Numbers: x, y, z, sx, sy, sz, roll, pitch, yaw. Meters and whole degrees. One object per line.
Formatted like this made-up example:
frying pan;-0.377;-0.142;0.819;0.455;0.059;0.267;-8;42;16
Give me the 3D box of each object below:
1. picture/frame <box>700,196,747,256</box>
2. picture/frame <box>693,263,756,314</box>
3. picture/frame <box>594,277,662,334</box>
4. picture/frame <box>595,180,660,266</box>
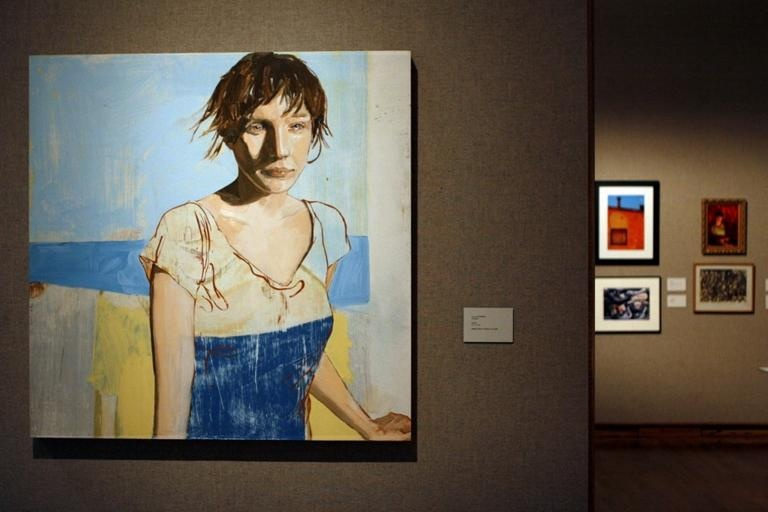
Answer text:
picture/frame;1.923;-0.161;6.445;0.308;0.442;0.037;1;-3;6
picture/frame;1.935;0.176;6.439;0.266;0.233;0.021;-1;2;2
picture/frame;1.379;0.267;6.427;0.329;0.293;0.025;-1;3;-1
picture/frame;1.376;-0.168;6.450;0.452;0.633;0.043;0;-3;-1
